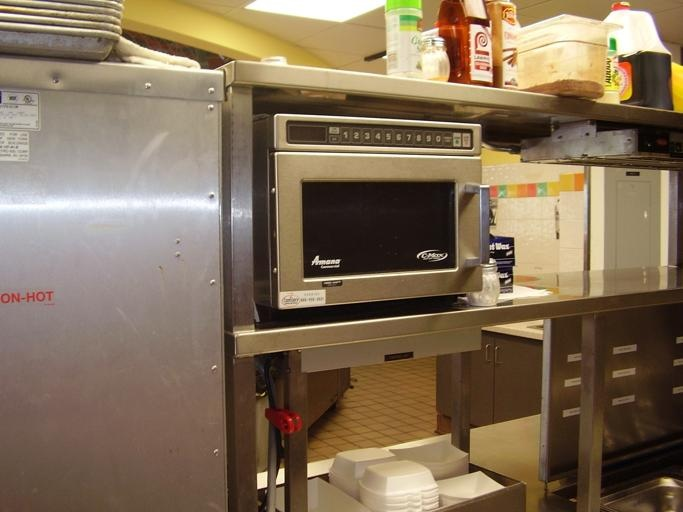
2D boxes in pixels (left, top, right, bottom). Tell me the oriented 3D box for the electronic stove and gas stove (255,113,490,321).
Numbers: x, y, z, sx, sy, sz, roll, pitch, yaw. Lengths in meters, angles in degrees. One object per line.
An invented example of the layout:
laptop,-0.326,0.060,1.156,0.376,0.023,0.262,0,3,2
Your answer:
electronic stove and gas stove,0.021,-0.091,1.407,0.526,0.478,0.368,-2,11,-30
